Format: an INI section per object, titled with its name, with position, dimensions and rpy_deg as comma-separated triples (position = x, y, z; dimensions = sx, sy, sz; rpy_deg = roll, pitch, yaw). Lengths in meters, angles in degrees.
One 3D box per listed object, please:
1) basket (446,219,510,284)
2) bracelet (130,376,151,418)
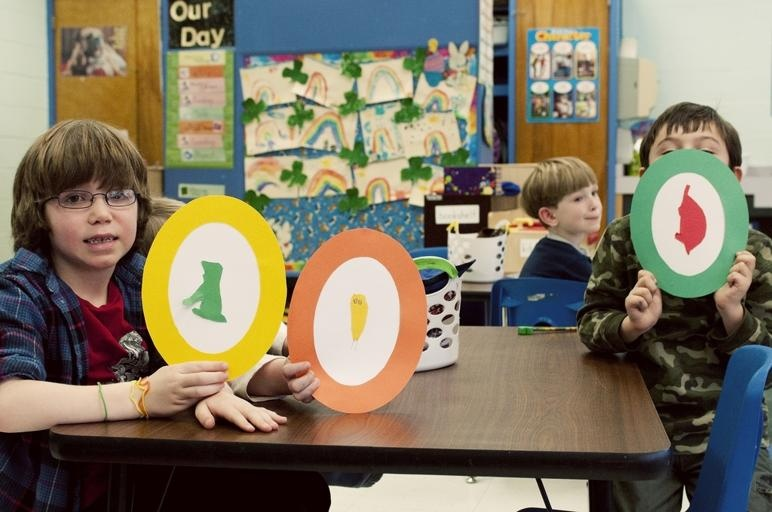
[basket]
position = 0.420, -0.015, 3.276
dimensions = 0.227, 0.311, 0.301
rpy_deg = 1, 3, 29
[bracelet]
position = -0.480, 0.279, 1.421
dimensions = 0.048, 0.064, 0.027
rpy_deg = 1, -5, -28
